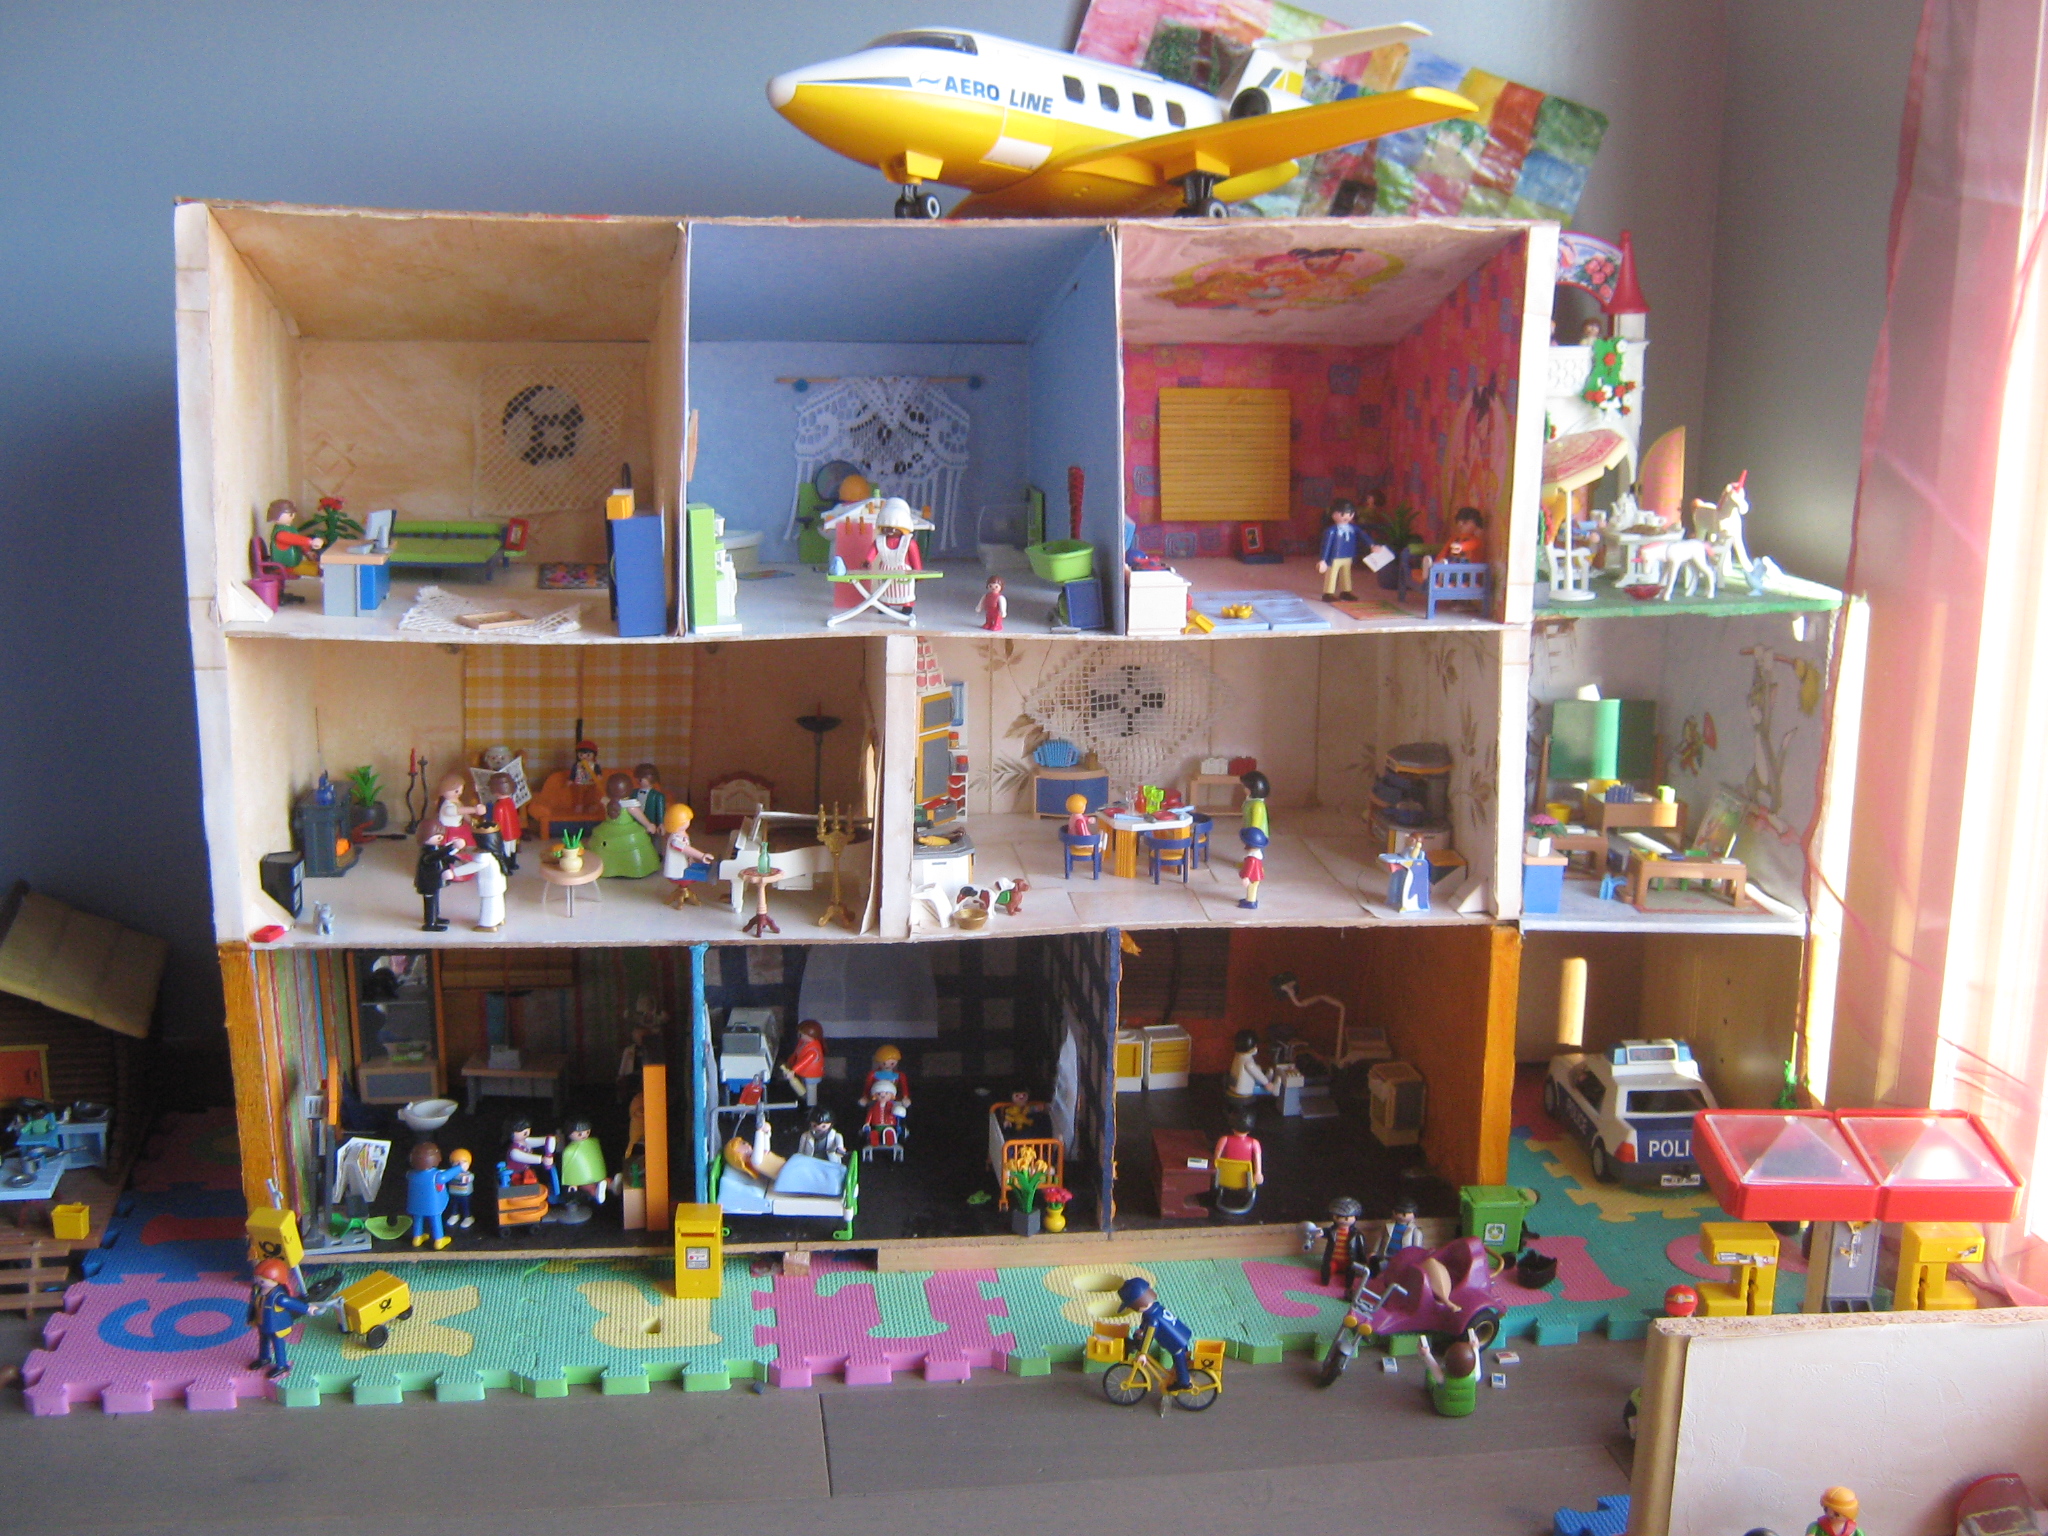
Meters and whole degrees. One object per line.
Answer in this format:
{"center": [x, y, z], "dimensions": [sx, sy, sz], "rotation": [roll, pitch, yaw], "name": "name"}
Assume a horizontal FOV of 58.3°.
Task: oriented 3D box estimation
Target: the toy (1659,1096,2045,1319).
{"center": [2.141, 1.023, 4.736], "dimensions": [0.741, 0.258, 0.270], "rotation": [-3, -1, -1], "name": "toy"}
